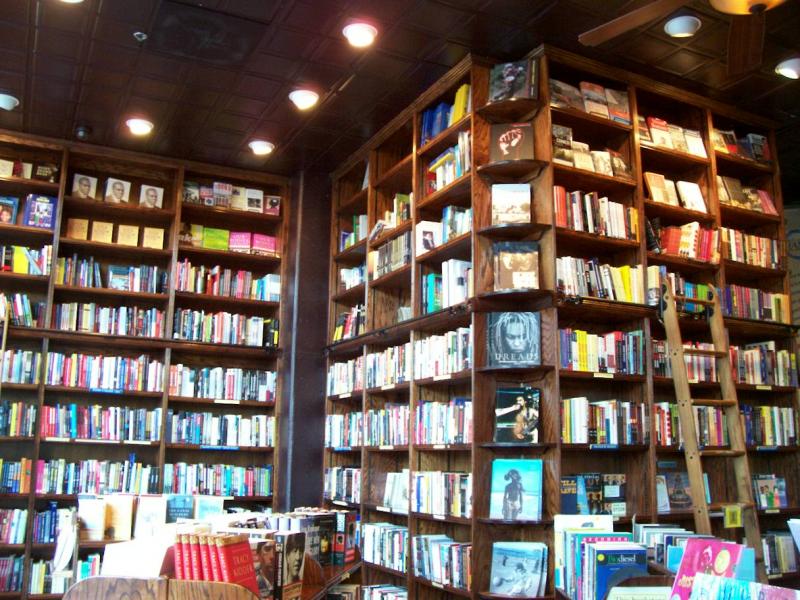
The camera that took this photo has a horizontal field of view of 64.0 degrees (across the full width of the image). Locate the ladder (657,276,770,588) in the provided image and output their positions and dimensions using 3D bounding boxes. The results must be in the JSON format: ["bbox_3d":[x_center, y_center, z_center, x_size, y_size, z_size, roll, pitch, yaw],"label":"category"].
[{"bbox_3d":[2.194,0.811,4.605,0.431,2.186,0.973,-10,-21,26],"label":"ladder"}]
